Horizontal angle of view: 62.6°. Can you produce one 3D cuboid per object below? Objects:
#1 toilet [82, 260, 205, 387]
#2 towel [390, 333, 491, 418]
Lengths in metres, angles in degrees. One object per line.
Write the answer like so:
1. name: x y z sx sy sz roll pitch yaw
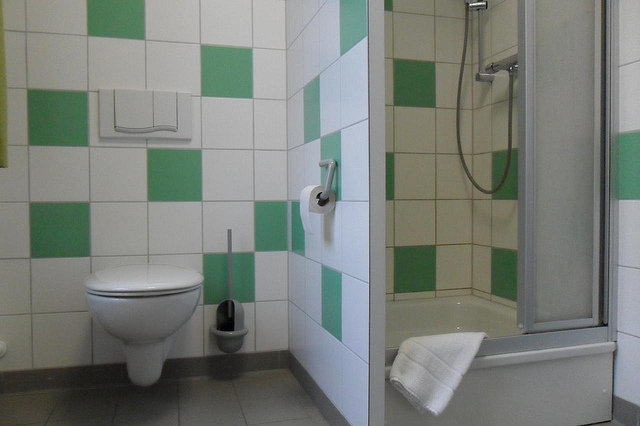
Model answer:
1. toilet: -0.983 0.660 2.955 0.684 0.735 0.749 -2 9 -31
2. towel: 0.580 0.771 2.492 0.500 0.345 0.221 -4 13 -15
